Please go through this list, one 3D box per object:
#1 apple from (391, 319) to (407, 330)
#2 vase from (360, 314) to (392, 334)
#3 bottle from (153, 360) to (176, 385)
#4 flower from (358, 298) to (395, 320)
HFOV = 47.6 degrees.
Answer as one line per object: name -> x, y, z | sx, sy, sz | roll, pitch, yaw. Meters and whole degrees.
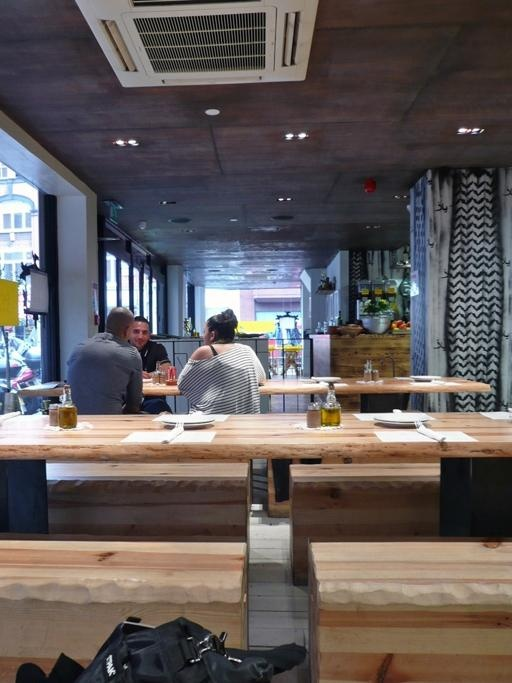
apple -> 1.865, -0.216, 7.529 | 0.123, 0.077, 0.193 | 3, -2, 2
vase -> 1.477, -0.218, 7.155 | 0.295, 0.184, 0.281 | 1, -3, -24
bottle -> -0.647, 0.233, 4.104 | 0.128, 0.205, 0.218 | 0, -5, -2
flower -> 1.521, -0.412, 7.242 | 0.421, 0.264, 0.399 | -1, -3, 6
